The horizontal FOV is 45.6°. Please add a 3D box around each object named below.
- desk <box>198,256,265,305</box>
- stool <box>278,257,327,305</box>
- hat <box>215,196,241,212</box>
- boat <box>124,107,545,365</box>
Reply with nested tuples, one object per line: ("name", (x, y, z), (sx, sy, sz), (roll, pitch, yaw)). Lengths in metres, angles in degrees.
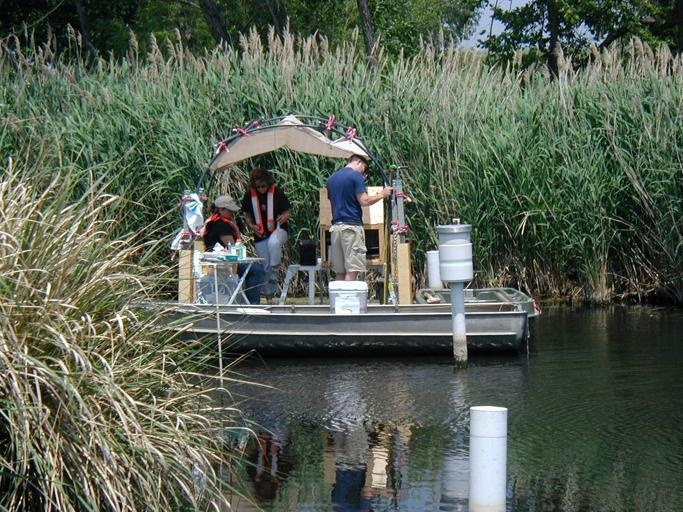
("desk", (-1.329, 0.330, 9.652), (0.779, 0.673, 0.681), (1, -4, 1))
("stool", (-0.446, 0.281, 9.952), (0.555, 0.775, 0.532), (3, 1, 4))
("hat", (-1.379, -0.629, 9.962), (0.260, 0.157, 0.178), (-4, 17, -23))
("boat", (0.070, -0.141, 9.050), (3.957, 2.682, 1.328), (-2, 1, 0))
